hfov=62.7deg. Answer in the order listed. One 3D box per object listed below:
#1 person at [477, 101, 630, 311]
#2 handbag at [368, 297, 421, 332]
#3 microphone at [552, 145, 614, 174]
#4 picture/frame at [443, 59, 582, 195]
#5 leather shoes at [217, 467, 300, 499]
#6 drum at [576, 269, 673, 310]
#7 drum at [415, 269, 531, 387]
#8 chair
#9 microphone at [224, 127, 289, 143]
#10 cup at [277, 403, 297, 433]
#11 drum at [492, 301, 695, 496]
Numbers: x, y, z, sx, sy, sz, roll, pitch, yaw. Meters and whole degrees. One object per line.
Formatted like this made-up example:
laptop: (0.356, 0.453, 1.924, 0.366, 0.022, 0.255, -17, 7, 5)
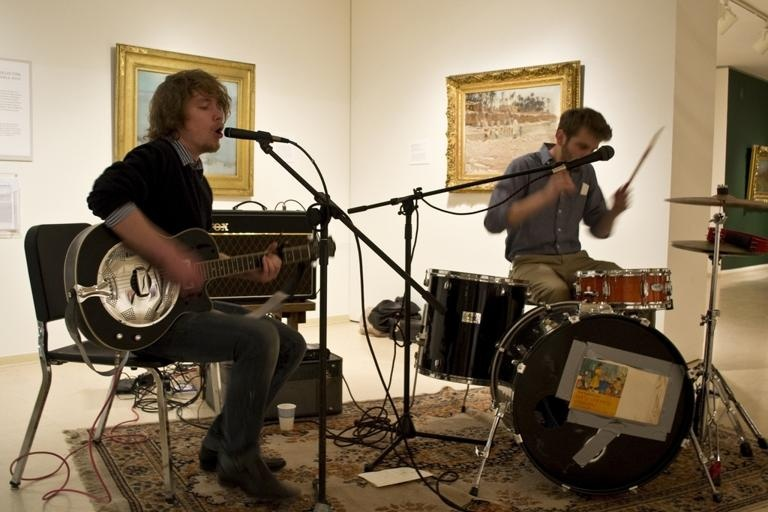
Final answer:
person: (1.138, -0.084, 4.283, 0.908, 1.794, 0.861, 3, 2, 13)
handbag: (0.117, 0.573, 6.249, 0.502, 0.218, 0.422, -3, 10, 15)
microphone: (1.072, -0.523, 3.344, 0.357, 0.131, 0.206, -5, 8, -36)
picture/frame: (1.103, -1.106, 5.254, 1.518, 1.331, 0.132, 1, 2, 43)
leather shoes: (-0.664, 1.208, 3.435, 0.454, 0.203, 0.170, 5, -5, -2)
drum: (1.364, 0.187, 3.602, 0.323, 0.130, 0.327, 1, -2, 0)
drum: (0.529, 0.474, 3.931, 0.642, 0.646, 0.631, 5, -9, 36)
chair: (-1.491, 0.563, 4.270, 1.360, 2.080, 1.344, 1, 0, 23)
microphone: (-0.665, -0.616, 3.223, 0.301, 0.087, 0.345, -2, 7, -16)
cup: (-0.636, 1.056, 4.091, 0.145, 0.152, 0.141, 0, -2, 0)
drum: (1.186, 0.820, 3.698, 1.038, 1.007, 0.634, 3, 8, -5)
